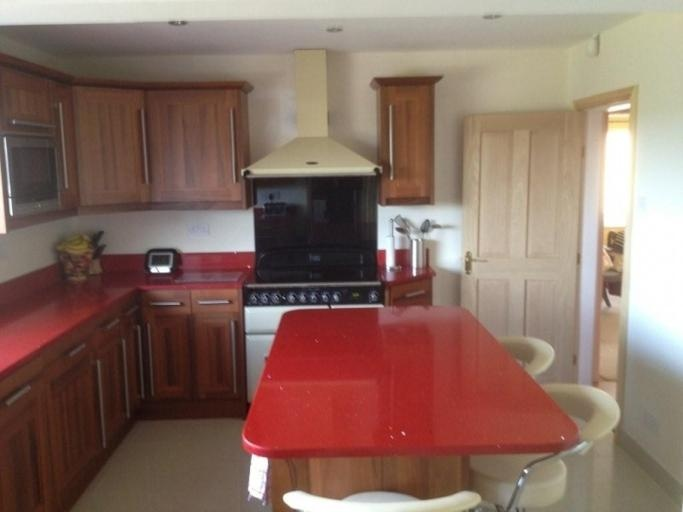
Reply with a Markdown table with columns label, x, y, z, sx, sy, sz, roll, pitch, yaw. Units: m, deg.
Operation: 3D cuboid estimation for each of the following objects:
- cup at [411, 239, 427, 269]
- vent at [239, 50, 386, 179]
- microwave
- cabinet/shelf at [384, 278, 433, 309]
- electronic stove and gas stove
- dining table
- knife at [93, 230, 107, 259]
| label | x | y | z | sx | sy | sz | roll | pitch | yaw |
| --- | --- | --- | --- | --- | --- | --- | --- | --- | --- |
| cup | 0.655 | -0.027 | 4.619 | 0.117 | 0.243 | 0.255 | 5 | 12 | 24 |
| vent | -0.217 | -1.061 | 4.436 | 1.129 | 0.999 | 0.962 | -1 | 9 | -1 |
| microwave | -1.894 | -0.488 | 3.370 | 0.207 | 0.589 | 0.520 | 1 | 8 | 3 |
| cabinet/shelf | 0.527 | 0.293 | 4.335 | 0.327 | 0.300 | 0.226 | -4 | 7 | -25 |
| electronic stove and gas stove | -0.212 | 0.071 | 4.431 | 1.037 | 0.174 | 0.501 | 0 | 11 | -2 |
| dining table | 0.262 | 0.755 | 2.730 | 1.290 | 0.650 | 1.339 | 0 | 11 | -1 |
| knife | -1.990 | -0.086 | 4.534 | 0.097 | 0.221 | 0.231 | -5 | 12 | -23 |
